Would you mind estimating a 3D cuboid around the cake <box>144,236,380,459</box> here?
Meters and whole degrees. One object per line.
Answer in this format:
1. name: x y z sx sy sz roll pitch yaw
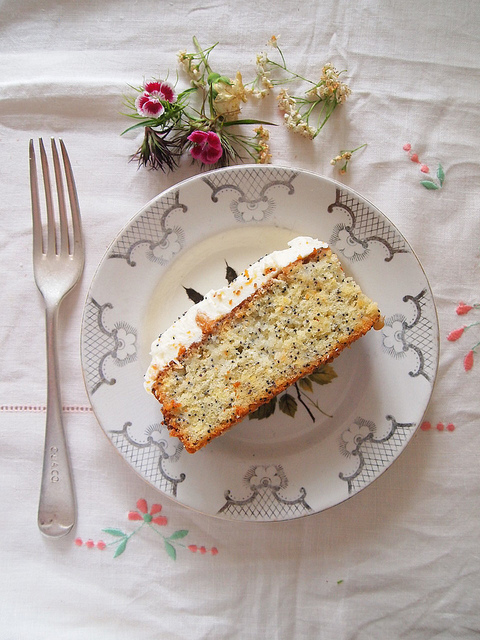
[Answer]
1. cake: 0.041 0.071 2.466 0.857 0.086 0.426 -37 83 -3
